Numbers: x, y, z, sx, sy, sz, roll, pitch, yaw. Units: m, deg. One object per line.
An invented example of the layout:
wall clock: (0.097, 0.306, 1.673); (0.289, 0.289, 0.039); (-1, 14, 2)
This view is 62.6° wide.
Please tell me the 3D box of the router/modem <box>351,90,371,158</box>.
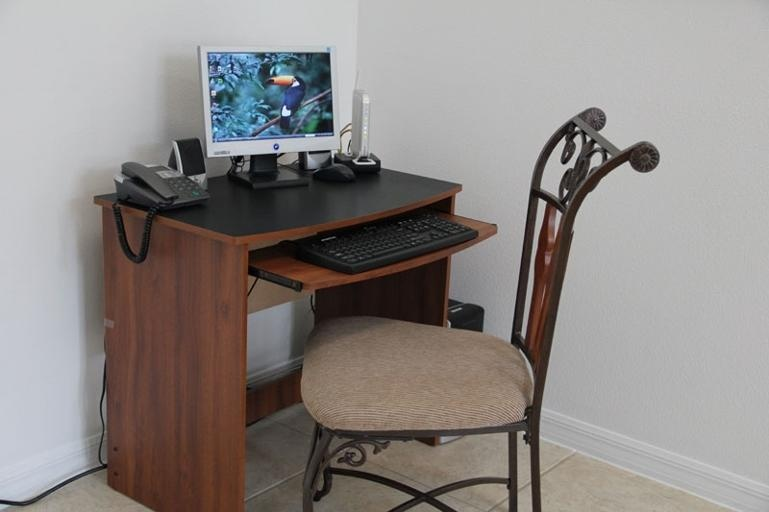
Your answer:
router/modem: (-0.096, -0.563, 2.750); (0.062, 0.290, 0.119); (-13, 37, -23)

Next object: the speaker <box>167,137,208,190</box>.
speaker: (-0.746, -0.357, 2.381); (0.108, 0.170, 0.109); (22, 29, 36)

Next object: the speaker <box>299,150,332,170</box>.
speaker: (-0.292, -0.416, 2.720); (0.089, 0.086, 0.123); (21, 27, 39)

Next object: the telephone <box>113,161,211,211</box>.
telephone: (-0.781, -0.253, 2.212); (0.239, 0.122, 0.254); (16, 19, 17)

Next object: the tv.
tv: (-0.449, -0.585, 2.556); (0.585, 0.530, 0.245); (-11, 29, -33)

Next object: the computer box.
computer box: (0.361, 0.579, 2.901); (0.232, 0.451, 0.249); (-8, -10, 0)
